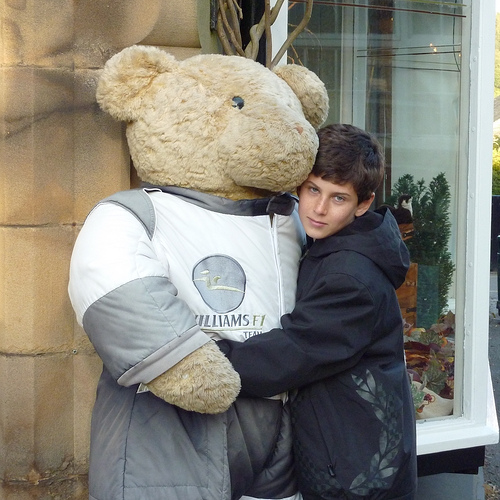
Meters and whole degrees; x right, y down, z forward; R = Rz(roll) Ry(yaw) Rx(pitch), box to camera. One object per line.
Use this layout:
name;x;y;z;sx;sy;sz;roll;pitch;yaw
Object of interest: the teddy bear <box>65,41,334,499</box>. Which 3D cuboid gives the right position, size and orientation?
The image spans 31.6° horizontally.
teddy bear;-0.173;0.114;3.170;0.912;1.671;0.610;-5;12;-10
